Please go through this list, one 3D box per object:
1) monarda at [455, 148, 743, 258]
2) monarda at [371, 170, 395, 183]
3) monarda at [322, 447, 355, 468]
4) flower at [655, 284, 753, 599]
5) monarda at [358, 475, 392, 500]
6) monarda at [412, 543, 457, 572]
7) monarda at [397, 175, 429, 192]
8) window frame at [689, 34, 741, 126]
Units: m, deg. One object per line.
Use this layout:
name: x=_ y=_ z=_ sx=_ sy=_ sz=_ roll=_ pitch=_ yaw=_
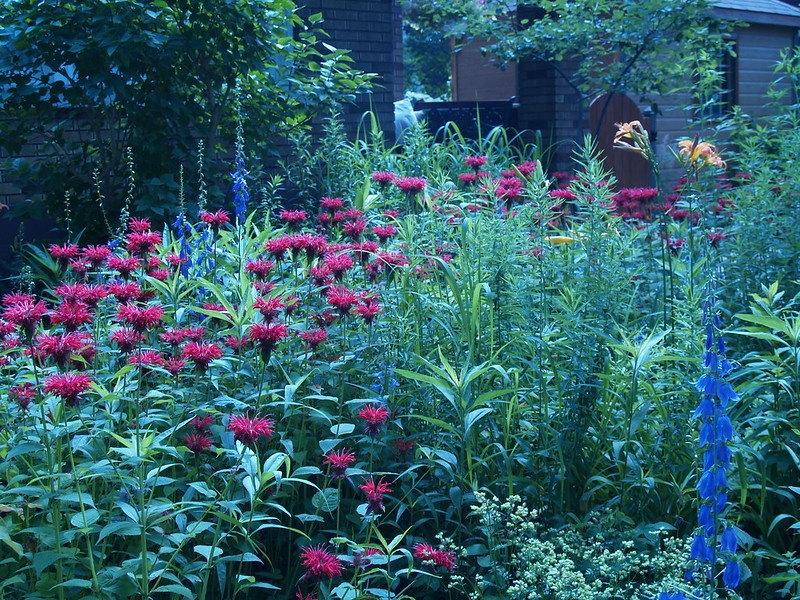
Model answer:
monarda: x=1.320 y=-0.649 z=6.106 sx=1.023 sy=0.494 sz=1.007 roll=-2 pitch=-6 yaw=0
monarda: x=-0.089 y=-0.714 z=5.654 sx=0.098 sy=0.070 sz=0.102 roll=-2 pitch=7 yaw=-20
monarda: x=-0.281 y=0.717 z=4.372 sx=0.113 sy=0.081 sz=0.122 roll=-2 pitch=-10 yaw=9
flower: x=1.259 y=0.610 z=4.009 sx=0.293 sy=1.349 sz=0.603 roll=1 pitch=6 yaw=19
monarda: x=-0.095 y=0.835 z=4.320 sx=0.126 sy=0.070 sz=0.125 roll=7 pitch=-7 yaw=-37
monarda: x=0.158 y=1.134 z=4.284 sx=0.131 sy=0.058 sz=0.130 roll=22 pitch=-18 yaw=-8
monarda: x=0.065 y=-0.630 z=5.340 sx=0.162 sy=0.086 sz=0.165 roll=-4 pitch=6 yaw=-27
window frame: x=2.195 y=-1.608 z=6.887 sx=0.171 sy=0.463 sz=0.247 roll=13 pitch=43 yaw=37
